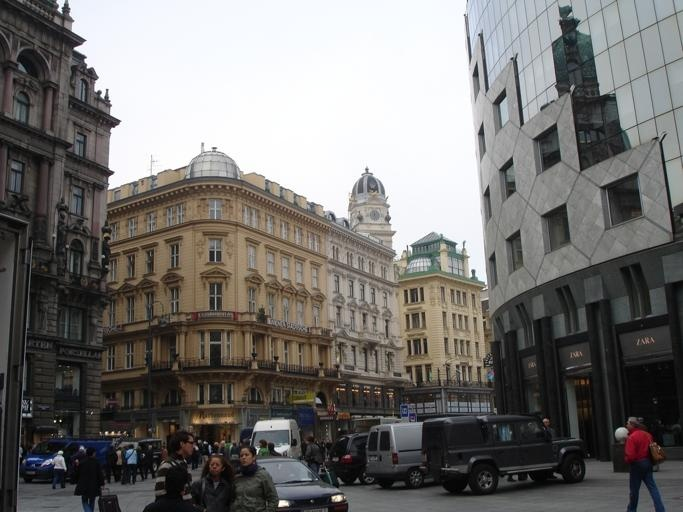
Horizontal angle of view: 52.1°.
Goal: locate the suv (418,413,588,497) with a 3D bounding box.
[{"bbox_3d":[5.952,7.204,25.328,6.016,2.662,1.581,3,-21,-20],"label":"suv"}]
